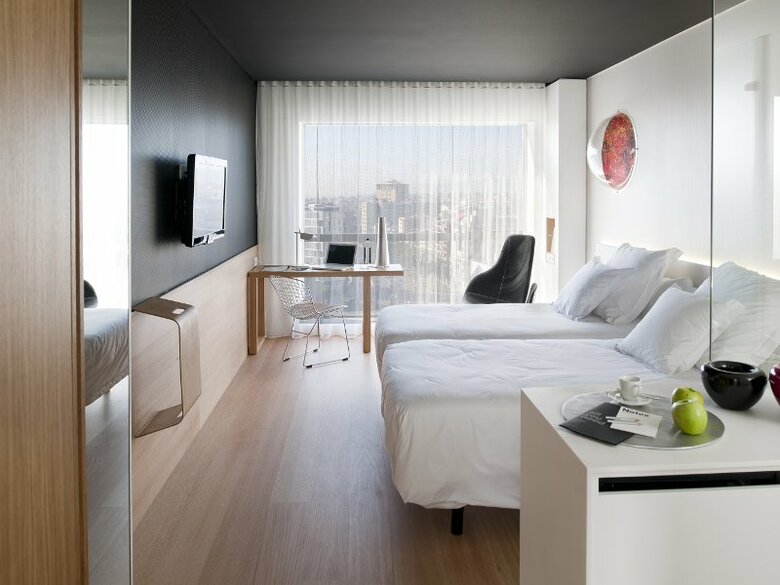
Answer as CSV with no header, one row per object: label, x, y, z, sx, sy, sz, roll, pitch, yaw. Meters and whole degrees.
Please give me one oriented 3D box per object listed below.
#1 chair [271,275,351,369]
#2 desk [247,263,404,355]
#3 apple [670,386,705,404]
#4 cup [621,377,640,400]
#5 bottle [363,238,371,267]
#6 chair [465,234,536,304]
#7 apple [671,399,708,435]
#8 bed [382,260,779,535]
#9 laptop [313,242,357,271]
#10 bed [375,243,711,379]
chair,-0.782,0.191,5.689,0.745,0.830,1.260,-1,10,-5
desk,-0.727,0.144,6.112,1.508,0.996,0.880,-1,11,-13
apple,0.951,0.320,1.767,0.066,0.080,0.073,2,-5,2
cup,0.810,0.319,1.870,0.057,0.065,0.074,7,13,37
bottle,-0.249,-0.456,6.224,0.098,0.240,0.174,-1,10,-4
chair,1.119,-0.279,5.958,0.644,0.928,0.579,-2,5,-9
apple,0.921,0.376,1.703,0.085,0.111,0.092,-15,2,16
bed,0.670,0.504,2.882,1.256,0.831,1.545,0,3,6
laptop,-0.530,-0.389,5.962,0.265,0.289,0.178,3,8,8
bed,0.817,0.219,4.239,1.776,1.033,1.085,-2,7,-4
